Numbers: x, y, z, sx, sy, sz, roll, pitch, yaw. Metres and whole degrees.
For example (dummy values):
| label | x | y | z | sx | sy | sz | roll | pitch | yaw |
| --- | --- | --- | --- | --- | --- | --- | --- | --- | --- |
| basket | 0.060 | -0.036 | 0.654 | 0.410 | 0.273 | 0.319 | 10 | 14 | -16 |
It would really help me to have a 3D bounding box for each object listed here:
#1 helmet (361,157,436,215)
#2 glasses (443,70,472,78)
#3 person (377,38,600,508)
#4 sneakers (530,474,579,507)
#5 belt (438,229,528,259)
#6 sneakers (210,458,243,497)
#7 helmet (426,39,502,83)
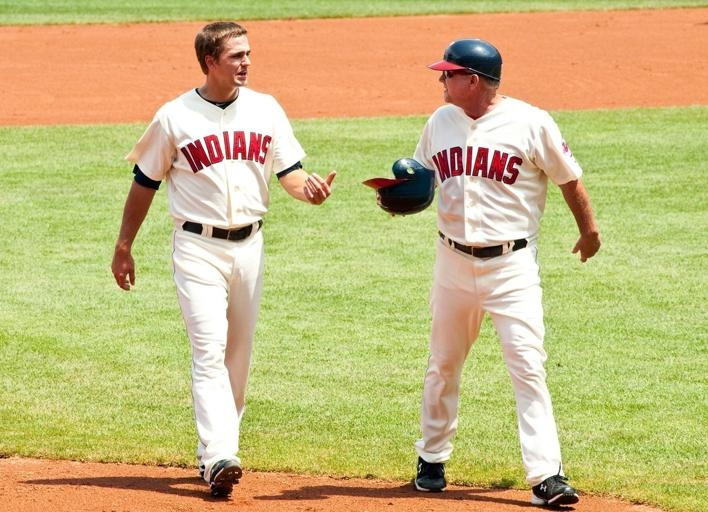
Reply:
| label | x | y | z | sx | sy | sz | roll | pitch | yaw |
| --- | --- | --- | --- | --- | --- | --- | --- | --- | --- |
| helmet | 0.398 | -0.599 | 9.862 | 0.544 | 0.397 | 0.506 | -1 | 4 | -2 |
| glasses | 0.828 | -1.503 | 9.632 | 0.117 | 0.051 | 0.090 | 3 | 13 | -5 |
| person | 1.172 | 0.135 | 9.586 | 1.493 | 3.697 | 1.087 | 4 | 15 | 12 |
| sneakers | 1.630 | 1.898 | 9.401 | 0.192 | 0.193 | 0.438 | 3 | -11 | -34 |
| belt | 1.065 | -0.080 | 9.613 | 0.724 | 0.163 | 0.170 | 4 | 14 | 10 |
| sneakers | -1.041 | 1.765 | 9.463 | 0.185 | 0.368 | 0.190 | 5 | 35 | -20 |
| helmet | 0.963 | -1.623 | 9.692 | 0.474 | 0.216 | 0.347 | 9 | 6 | 3 |
